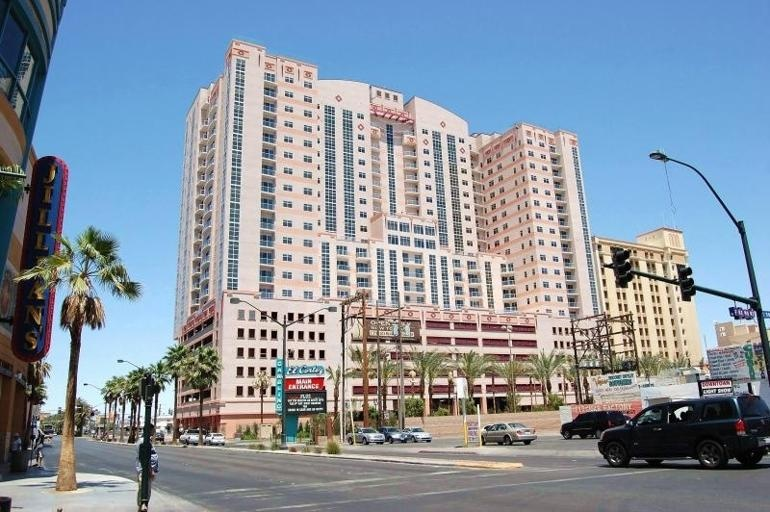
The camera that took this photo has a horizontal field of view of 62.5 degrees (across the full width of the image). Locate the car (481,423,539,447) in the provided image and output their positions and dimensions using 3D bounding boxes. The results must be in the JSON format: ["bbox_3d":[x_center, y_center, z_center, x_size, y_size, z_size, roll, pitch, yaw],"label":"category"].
[{"bbox_3d":[9.347,13.794,49.260,1.898,1.142,4.075,8,-13,-32],"label":"car"}]

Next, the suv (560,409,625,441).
[{"bbox_3d":[16.445,13.320,50.233,2.437,1.782,4.866,8,-16,-41],"label":"suv"}]

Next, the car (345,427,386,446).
[{"bbox_3d":[-1.562,16.619,58.315,1.689,1.187,3.915,7,-15,-35],"label":"car"}]

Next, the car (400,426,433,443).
[{"bbox_3d":[2.866,17.468,61.788,1.434,0.889,2.839,6,-16,-28],"label":"car"}]
